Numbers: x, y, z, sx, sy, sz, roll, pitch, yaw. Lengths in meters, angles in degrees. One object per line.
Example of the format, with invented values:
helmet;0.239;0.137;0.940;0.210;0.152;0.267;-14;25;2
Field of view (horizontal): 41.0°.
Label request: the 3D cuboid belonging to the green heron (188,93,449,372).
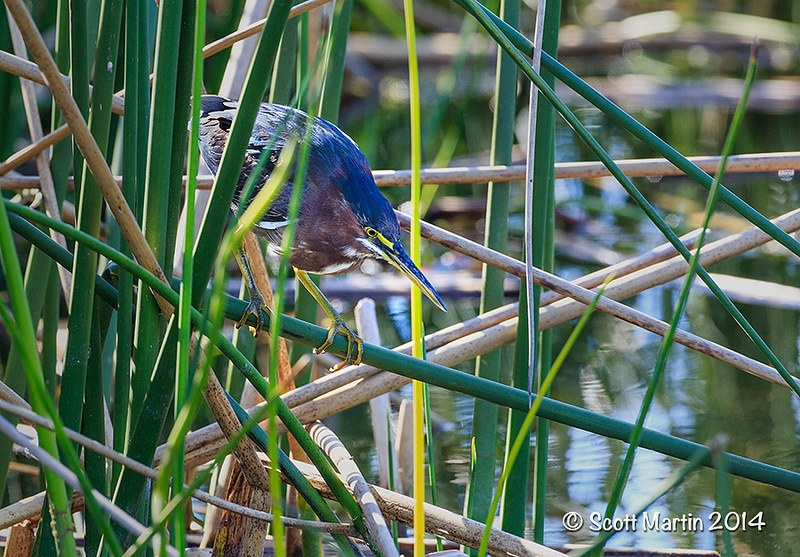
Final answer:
green heron;-0.251;-0.153;3.075;0.638;0.762;0.855;0;5;-12
